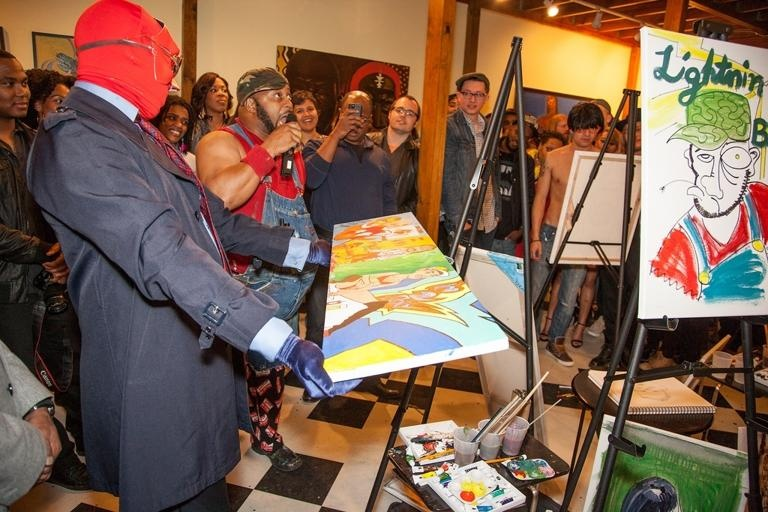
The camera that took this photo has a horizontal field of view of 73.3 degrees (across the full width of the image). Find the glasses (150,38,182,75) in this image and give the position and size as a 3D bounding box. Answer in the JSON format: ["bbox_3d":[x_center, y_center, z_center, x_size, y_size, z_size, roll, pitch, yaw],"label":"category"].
[{"bbox_3d":[-0.792,-0.723,1.878,0.094,0.053,0.075,40,18,-29],"label":"glasses"}]

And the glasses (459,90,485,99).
[{"bbox_3d":[0.695,-1.243,3.969,0.184,0.043,0.066,1,15,2],"label":"glasses"}]

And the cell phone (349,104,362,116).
[{"bbox_3d":[-0.173,-0.902,3.167,0.086,0.067,0.069,-2,15,-10],"label":"cell phone"}]

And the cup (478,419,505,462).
[{"bbox_3d":[0.487,0.790,2.228,0.153,0.164,0.155,1,-20,0],"label":"cup"}]

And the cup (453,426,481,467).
[{"bbox_3d":[0.351,0.797,2.214,0.139,0.147,0.136,0,13,0],"label":"cup"}]

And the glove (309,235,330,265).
[{"bbox_3d":[-0.304,-0.025,2.371,0.085,0.107,0.045,4,-8,-35],"label":"glove"}]

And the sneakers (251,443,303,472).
[{"bbox_3d":[-0.599,1.115,2.884,0.304,0.125,0.115,4,2,25],"label":"sneakers"}]

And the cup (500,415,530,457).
[{"bbox_3d":[0.563,0.777,2.283,0.143,0.155,0.143,3,6,0],"label":"cup"}]

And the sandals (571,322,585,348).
[{"bbox_3d":[1.774,0.672,4.679,0.105,0.221,0.400,6,16,20],"label":"sandals"}]

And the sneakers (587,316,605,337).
[{"bbox_3d":[1.990,0.651,4.825,0.131,0.190,0.135,6,16,18],"label":"sneakers"}]

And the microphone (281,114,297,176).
[{"bbox_3d":[-0.466,-0.564,2.622,0.074,0.316,0.081,4,3,0],"label":"microphone"}]

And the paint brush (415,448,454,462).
[{"bbox_3d":[0.220,0.843,2.163,0.170,0.025,0.037,-4,16,-18],"label":"paint brush"}]

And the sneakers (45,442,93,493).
[{"bbox_3d":[-1.604,1.097,2.626,0.268,0.155,0.100,7,17,16],"label":"sneakers"}]

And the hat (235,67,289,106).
[{"bbox_3d":[-0.613,-0.857,2.614,0.217,0.122,0.172,-19,30,-19],"label":"hat"}]

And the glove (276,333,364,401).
[{"bbox_3d":[-0.212,0.368,1.655,0.267,0.160,0.091,24,-29,2],"label":"glove"}]

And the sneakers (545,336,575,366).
[{"bbox_3d":[1.454,0.789,4.249,0.105,0.193,0.305,-3,8,-28],"label":"sneakers"}]

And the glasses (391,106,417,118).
[{"bbox_3d":[0.166,-1.087,3.918,0.195,0.080,0.085,-1,15,-5],"label":"glasses"}]
